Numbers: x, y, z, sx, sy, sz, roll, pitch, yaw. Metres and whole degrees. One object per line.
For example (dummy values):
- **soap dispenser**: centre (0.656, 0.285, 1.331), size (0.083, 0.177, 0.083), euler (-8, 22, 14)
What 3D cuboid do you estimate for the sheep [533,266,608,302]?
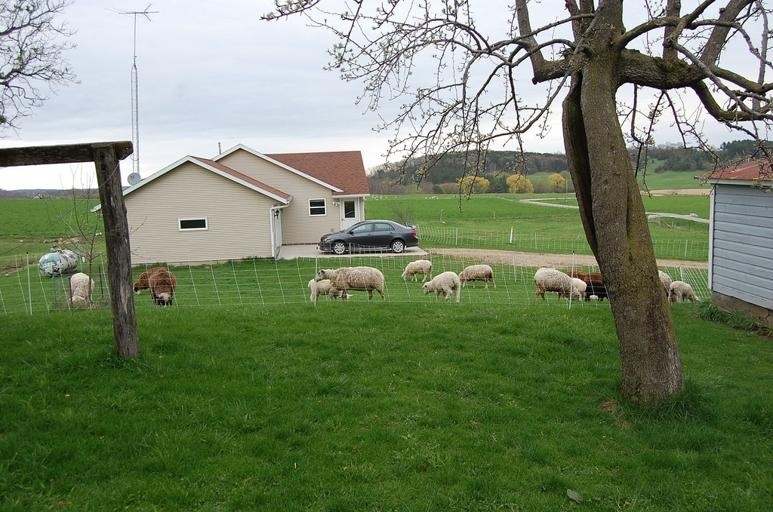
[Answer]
- **sheep**: centre (6.188, 1.001, 21.487), size (1.921, 0.656, 0.998), euler (1, -36, -12)

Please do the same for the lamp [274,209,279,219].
- **lamp**: centre (-5.584, -2.181, 32.538), size (0.330, 0.501, 0.176), euler (-1, -4, -9)

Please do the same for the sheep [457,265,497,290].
- **sheep**: centre (3.422, 0.725, 23.807), size (1.259, 0.887, 1.783), euler (2, 7, 9)

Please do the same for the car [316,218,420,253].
- **car**: centre (-0.673, -0.854, 31.828), size (4.325, 1.504, 1.900), euler (2, 0, -4)

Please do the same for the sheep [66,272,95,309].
- **sheep**: centre (-9.320, 1.059, 19.566), size (0.584, 0.754, 1.464), euler (-8, 37, -19)

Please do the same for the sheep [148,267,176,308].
- **sheep**: centre (-6.791, 0.944, 19.365), size (0.517, 0.919, 1.712), euler (0, 13, -25)

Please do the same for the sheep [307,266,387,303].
- **sheep**: centre (-1.109, 0.831, 19.815), size (2.028, 0.974, 0.476), euler (2, 7, 8)
